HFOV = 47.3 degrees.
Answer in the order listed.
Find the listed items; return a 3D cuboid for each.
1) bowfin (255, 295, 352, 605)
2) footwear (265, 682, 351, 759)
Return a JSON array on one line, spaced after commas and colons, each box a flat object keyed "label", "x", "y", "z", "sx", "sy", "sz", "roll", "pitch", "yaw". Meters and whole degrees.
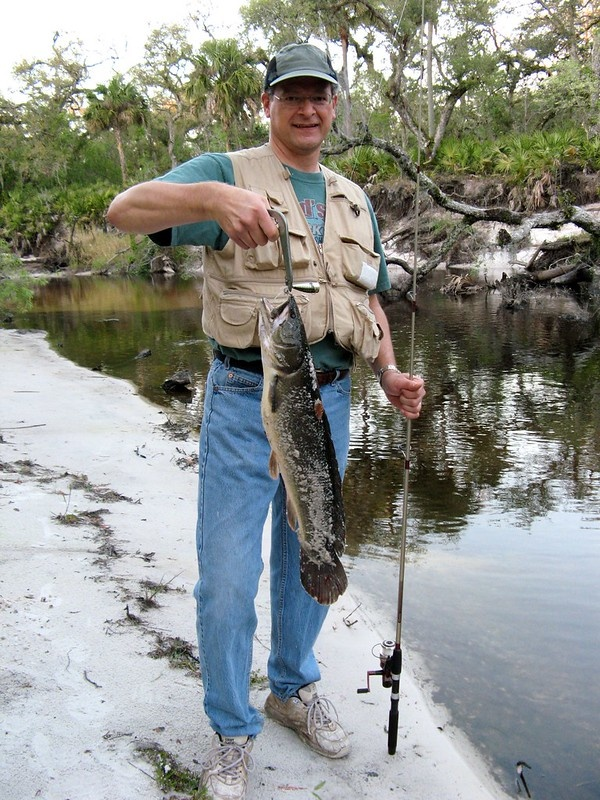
[{"label": "bowfin", "x": 0.016, "y": 0.161, "z": 1.960, "sx": 0.142, "sy": 0.917, "sz": 0.293, "roll": 11, "pitch": 17, "yaw": 43}, {"label": "footwear", "x": 0.032, "y": 1.045, "z": 2.316, "sx": 0.309, "sy": 0.142, "sz": 0.123, "roll": 28, "pitch": 15, "yaw": 30}]
